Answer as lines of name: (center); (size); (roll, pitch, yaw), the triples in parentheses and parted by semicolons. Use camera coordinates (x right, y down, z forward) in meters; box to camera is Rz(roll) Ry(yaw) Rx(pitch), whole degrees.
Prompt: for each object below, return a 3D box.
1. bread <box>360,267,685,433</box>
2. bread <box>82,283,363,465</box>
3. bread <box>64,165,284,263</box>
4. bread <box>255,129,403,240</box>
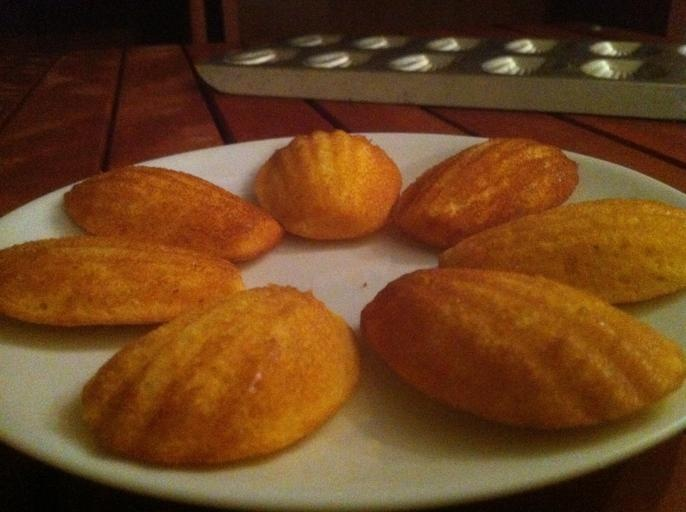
bread: (0.090, 0.048, 0.286); (0.137, 0.033, 0.073); (9, 45, 26)
bread: (-0.058, 0.059, 0.279); (0.108, 0.027, 0.085); (-18, 40, -27)
bread: (-0.129, -0.021, 0.424); (0.146, 0.038, 0.068); (12, 29, 2)
bread: (-0.009, -0.053, 0.474); (0.121, 0.032, 0.085); (-3, 53, -1)
